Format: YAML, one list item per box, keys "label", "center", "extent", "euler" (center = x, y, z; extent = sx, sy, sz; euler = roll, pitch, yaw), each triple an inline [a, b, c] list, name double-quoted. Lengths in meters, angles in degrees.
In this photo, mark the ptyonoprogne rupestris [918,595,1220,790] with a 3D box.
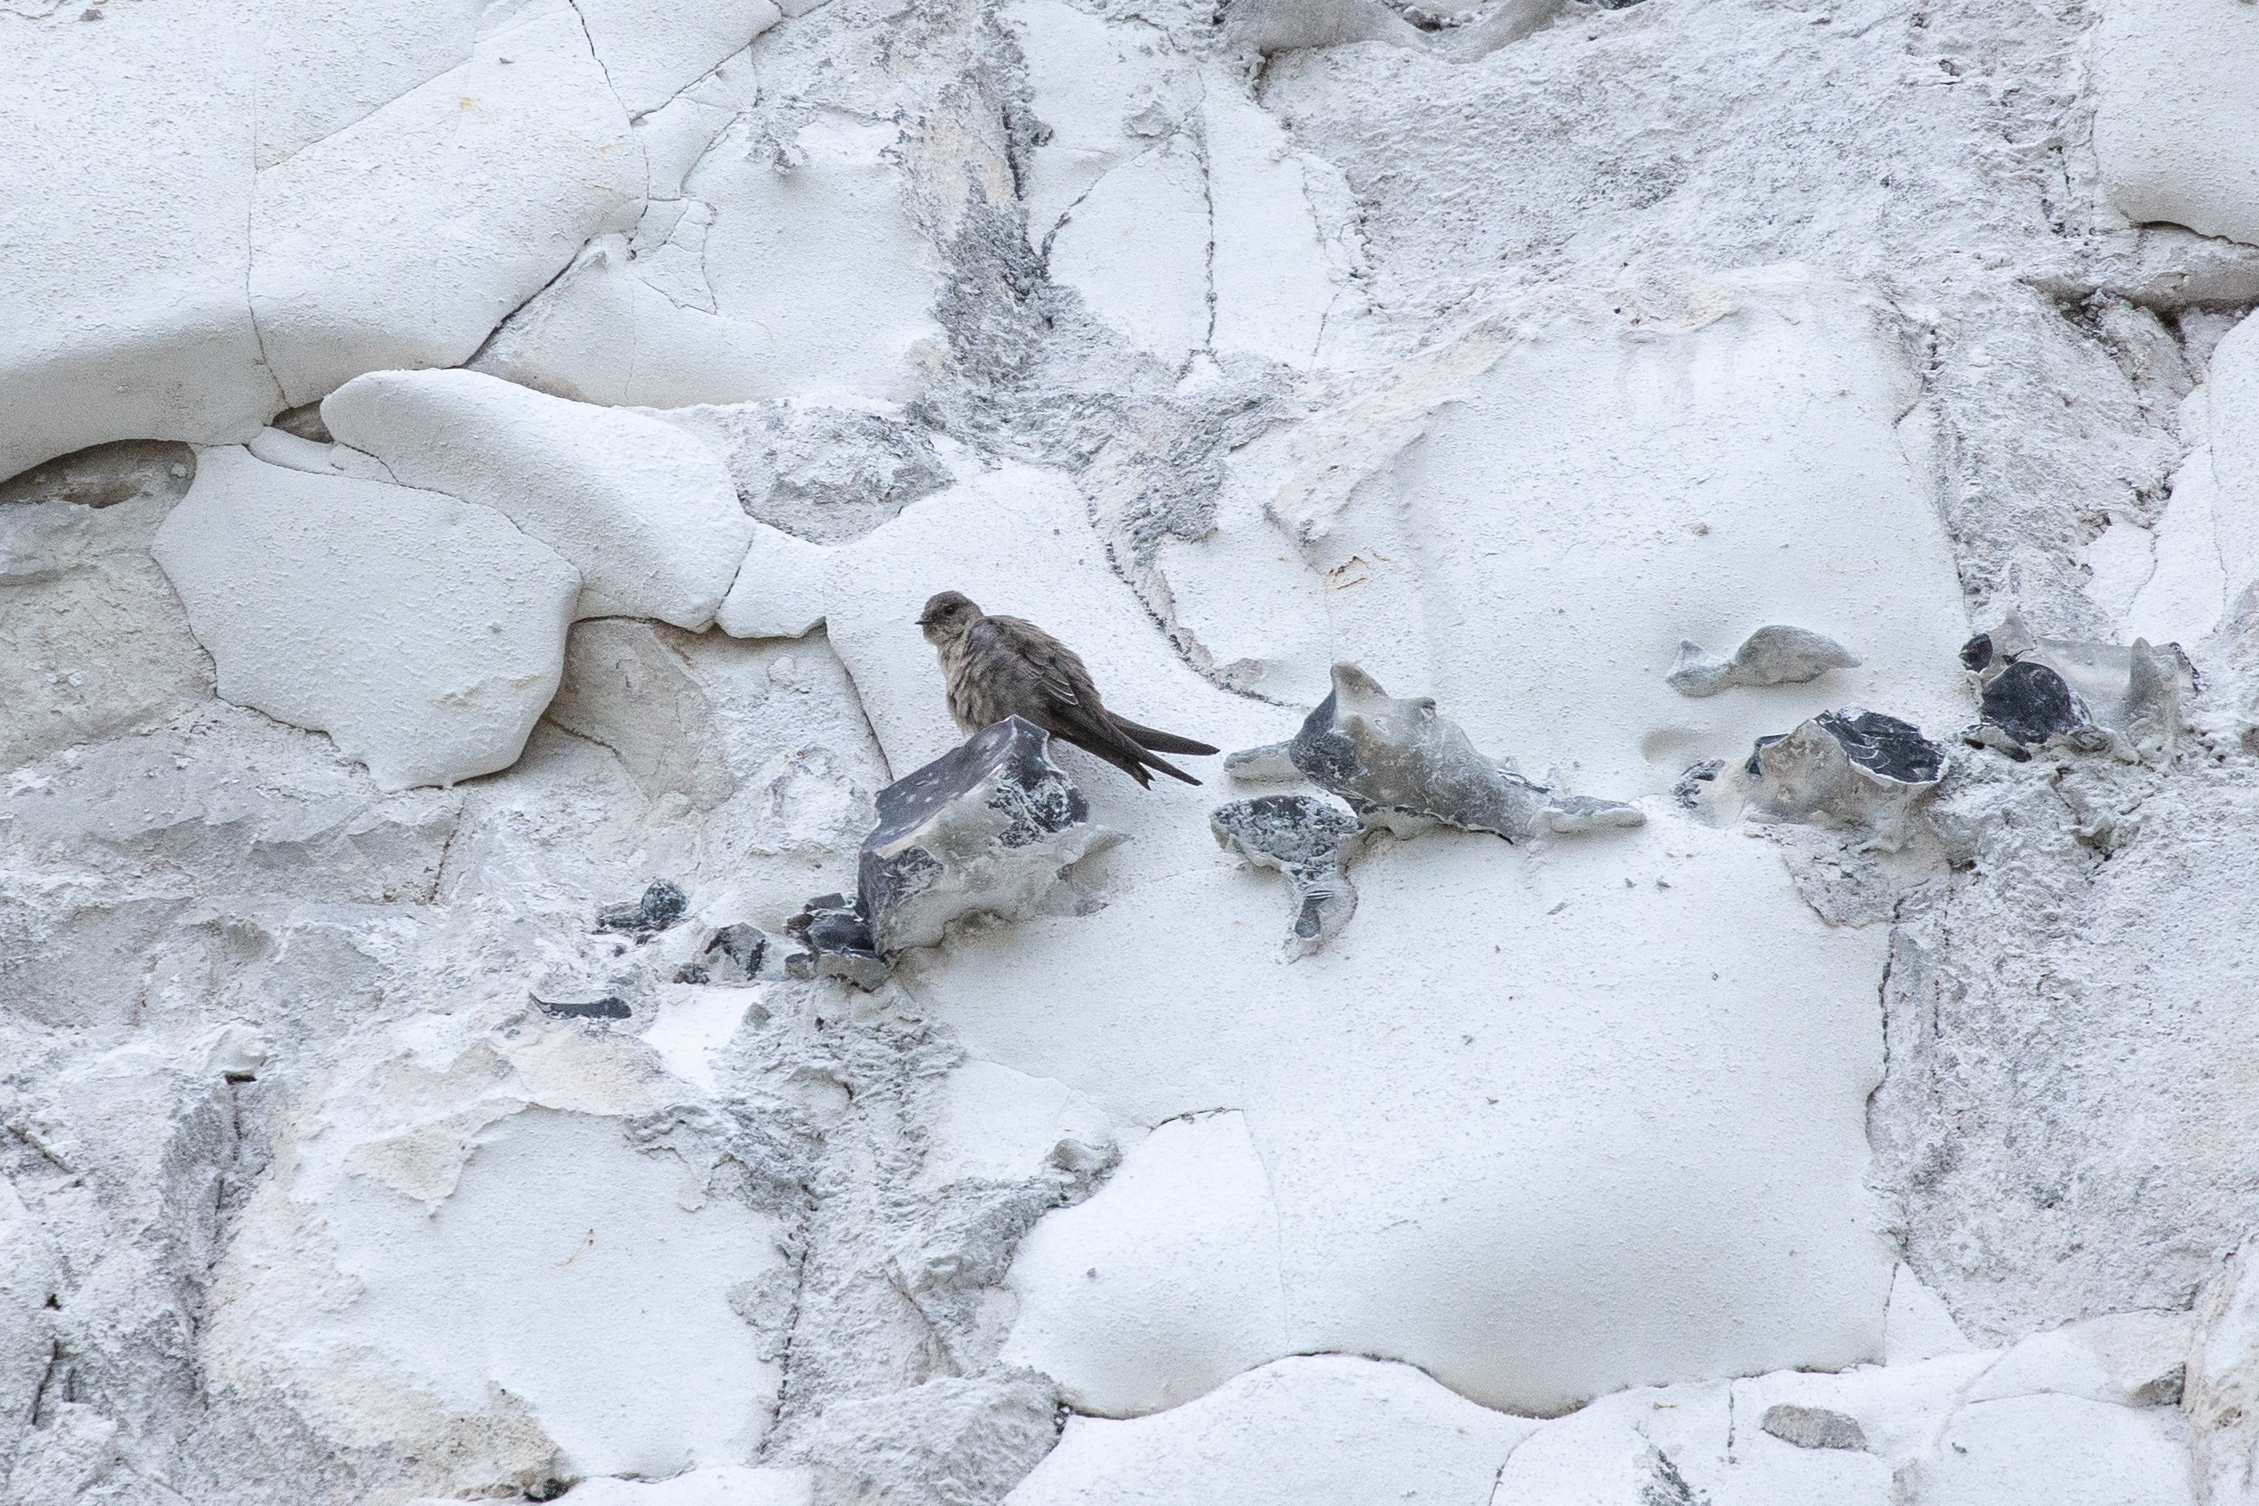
- label: "ptyonoprogne rupestris"
  center: [-0.211, -0.162, 14.447]
  extent: [0.767, 0.242, 0.345]
  euler: [12, 92, 27]
